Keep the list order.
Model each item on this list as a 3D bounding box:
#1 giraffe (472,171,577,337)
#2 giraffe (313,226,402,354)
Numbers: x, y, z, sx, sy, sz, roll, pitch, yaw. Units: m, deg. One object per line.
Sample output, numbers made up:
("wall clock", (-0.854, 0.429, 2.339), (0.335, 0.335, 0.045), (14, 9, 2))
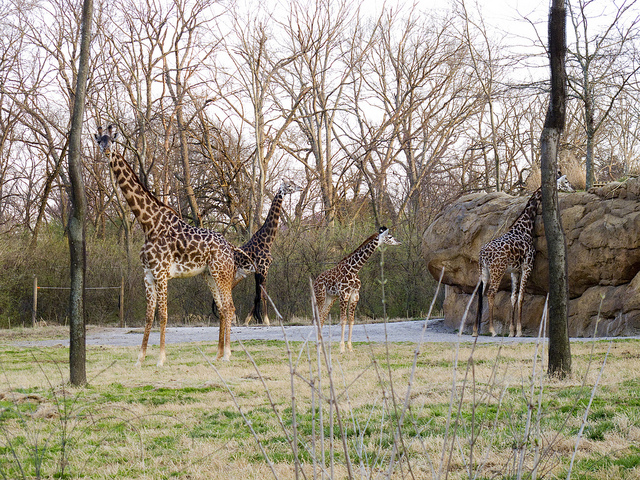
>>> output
("giraffe", (5.303, 0.618, 25.657), (1.567, 4.141, 1.048), (1, -4, 12))
("giraffe", (0.803, 1.240, 23.984), (1.758, 3.290, 1.823), (2, -4, -1))
